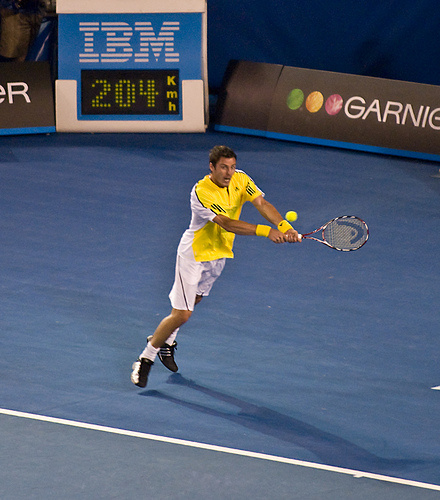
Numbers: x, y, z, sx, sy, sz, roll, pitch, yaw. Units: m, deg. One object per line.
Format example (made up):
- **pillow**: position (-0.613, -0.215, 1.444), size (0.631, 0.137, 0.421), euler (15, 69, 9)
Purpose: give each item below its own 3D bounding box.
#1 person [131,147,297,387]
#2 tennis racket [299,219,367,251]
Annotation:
- **person**: position (-0.039, 0.129, 4.306), size (0.969, 1.680, 0.589), euler (5, 14, -6)
- **tennis racket**: position (0.876, -0.122, 4.415), size (0.318, 0.224, 0.535), euler (7, 11, 9)
